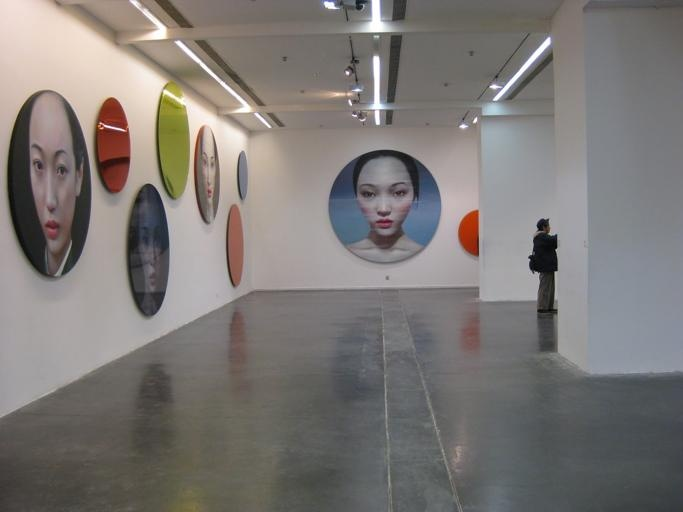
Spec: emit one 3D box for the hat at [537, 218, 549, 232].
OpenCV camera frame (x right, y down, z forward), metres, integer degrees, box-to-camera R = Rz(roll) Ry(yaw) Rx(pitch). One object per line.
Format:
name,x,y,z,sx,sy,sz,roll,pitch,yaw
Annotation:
hat,3.812,-0.582,9.589,0.206,0.245,0.189,-10,17,-3

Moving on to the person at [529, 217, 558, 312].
person,3.764,0.178,9.464,0.484,1.689,0.523,2,6,22

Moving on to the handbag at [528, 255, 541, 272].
handbag,3.578,0.126,9.487,0.197,0.447,0.296,1,-1,6

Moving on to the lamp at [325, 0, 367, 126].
lamp,0.068,-3.135,7.527,0.513,1.876,0.525,1,10,3
